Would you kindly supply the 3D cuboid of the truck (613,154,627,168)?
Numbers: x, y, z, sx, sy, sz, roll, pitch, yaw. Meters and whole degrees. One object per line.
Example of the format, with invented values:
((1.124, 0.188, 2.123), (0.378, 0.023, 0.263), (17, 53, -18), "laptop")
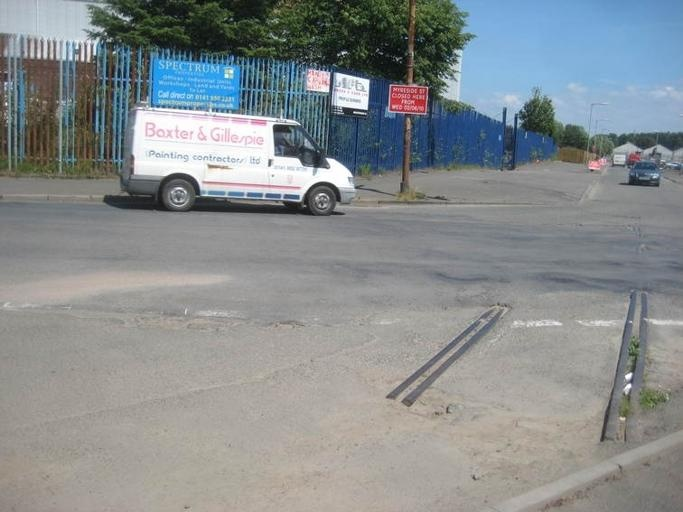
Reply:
((38.541, -13.271, 90.114), (1.527, 1.484, 2.613), (4, 16, 17), "truck")

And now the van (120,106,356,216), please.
((-2.979, -2.673, 17.578), (5.232, 2.929, 2.761), (-1, 6, -20), "van")

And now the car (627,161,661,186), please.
((17.859, -4.828, 38.098), (1.627, 1.352, 2.095), (7, 13, 26), "car")
